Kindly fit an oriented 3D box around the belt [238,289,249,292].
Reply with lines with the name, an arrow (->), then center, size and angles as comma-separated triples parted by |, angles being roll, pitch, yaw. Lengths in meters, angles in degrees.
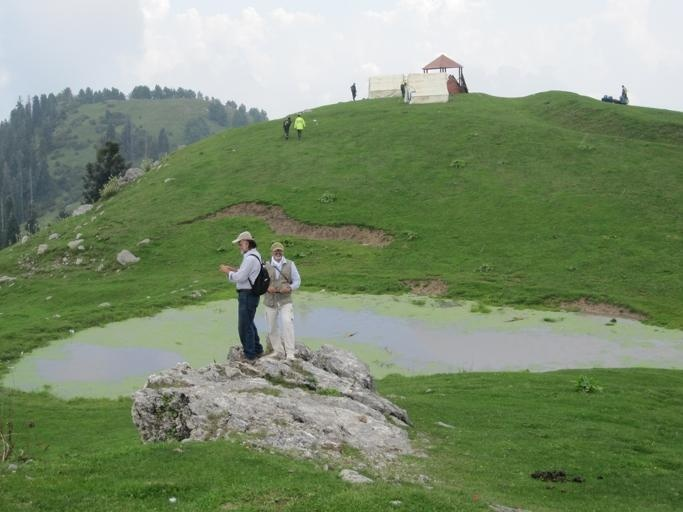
belt -> -5.810, 2.041, 52.709 | 0.671, 0.216, 0.246 | 0, 2, -7
